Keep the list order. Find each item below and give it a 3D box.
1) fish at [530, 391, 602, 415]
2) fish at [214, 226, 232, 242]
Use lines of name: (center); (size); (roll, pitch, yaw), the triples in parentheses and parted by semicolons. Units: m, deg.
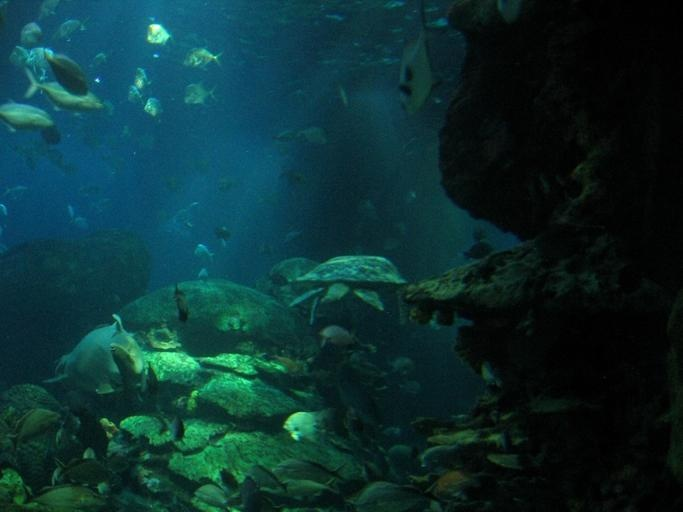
fish: (6.581, 4.410, 23.262); (1.928, 0.549, 0.106); (-7, -10, 7)
fish: (-4.768, -0.870, 31.013); (0.445, 0.385, 0.605); (14, 5, -35)
